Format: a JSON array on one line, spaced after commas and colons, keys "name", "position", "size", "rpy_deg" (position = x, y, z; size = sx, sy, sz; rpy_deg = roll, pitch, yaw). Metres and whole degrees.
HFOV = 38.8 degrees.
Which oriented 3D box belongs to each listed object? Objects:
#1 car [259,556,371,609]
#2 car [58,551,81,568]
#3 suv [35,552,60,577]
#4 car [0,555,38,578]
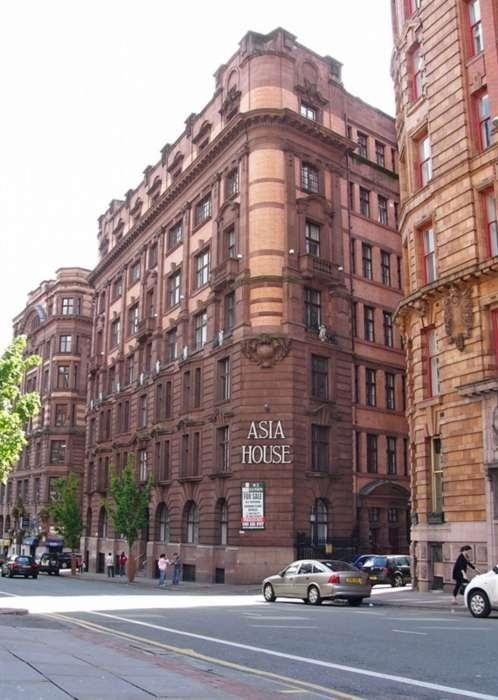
[{"name": "car", "position": [1.994, 7.129, 21.647], "size": [1.387, 1.257, 4.004], "rpy_deg": [10, -21, -28]}, {"name": "car", "position": [-14.284, 16.822, 56.240], "size": [1.624, 1.217, 9.035], "rpy_deg": [5, -19, -14]}, {"name": "suv", "position": [-14.555, 15.775, 51.883], "size": [1.028, 1.513, 2.549], "rpy_deg": [16, -24, -40]}, {"name": "car", "position": [-13.957, 13.431, 43.633], "size": [1.989, 1.351, 1.293], "rpy_deg": [-1, -18, 3]}]
